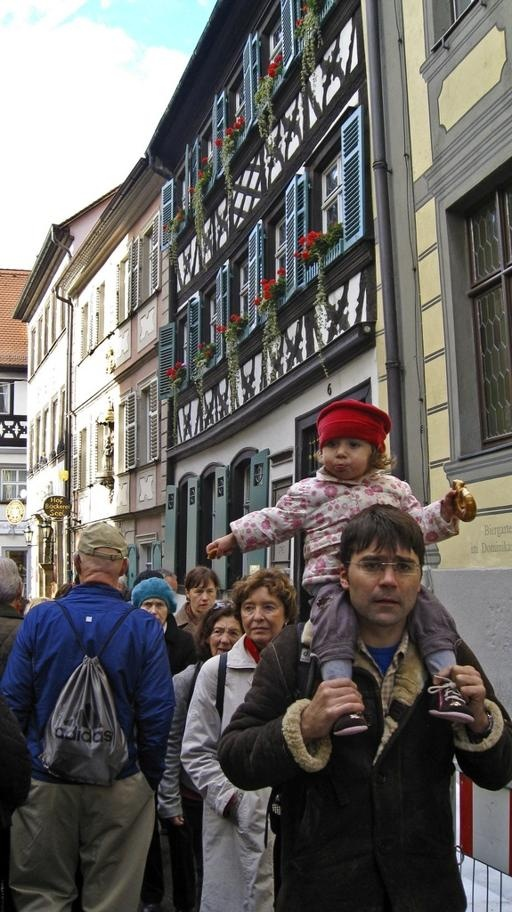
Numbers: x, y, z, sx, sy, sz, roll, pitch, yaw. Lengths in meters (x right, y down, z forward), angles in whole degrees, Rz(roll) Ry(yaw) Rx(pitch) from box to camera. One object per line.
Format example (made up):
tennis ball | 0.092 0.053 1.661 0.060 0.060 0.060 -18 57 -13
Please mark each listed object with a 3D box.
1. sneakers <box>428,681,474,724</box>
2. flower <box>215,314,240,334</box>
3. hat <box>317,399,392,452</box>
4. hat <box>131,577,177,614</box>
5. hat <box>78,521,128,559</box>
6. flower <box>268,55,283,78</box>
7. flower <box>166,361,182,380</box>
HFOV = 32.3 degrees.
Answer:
sneakers | 0.409 0.533 1.899 0.084 0.083 0.175 -11 -4 7
flower | -0.411 -1.854 12.352 0.382 0.172 0.224 -6 1 13
hat | 0.329 -0.110 2.948 0.184 0.148 0.178 8 -14 -31
hat | -0.612 0.849 5.355 0.194 0.213 0.249 1 -13 -1
hat | -0.637 0.345 3.718 0.132 0.105 0.189 9 -1 -15
flower | 0.246 -4.895 11.044 0.267 0.201 0.243 -1 2 2
flower | -1.442 -1.537 15.901 0.142 0.239 0.583 -7 -5 -34
